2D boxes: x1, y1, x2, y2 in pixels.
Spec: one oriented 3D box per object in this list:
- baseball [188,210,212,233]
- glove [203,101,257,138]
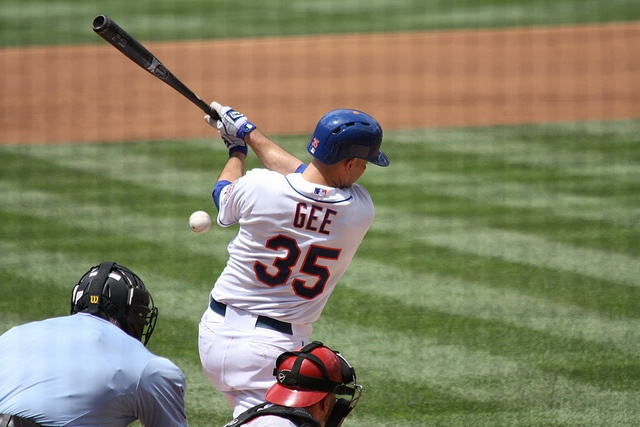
[{"bbox_3d":[-1.219,0.089,12.674,0.230,0.204,0.221,0,-20,-10],"label":"baseball"},{"bbox_3d":[-0.920,-0.916,12.619,0.535,0.292,0.155,29,50,16],"label":"glove"}]
